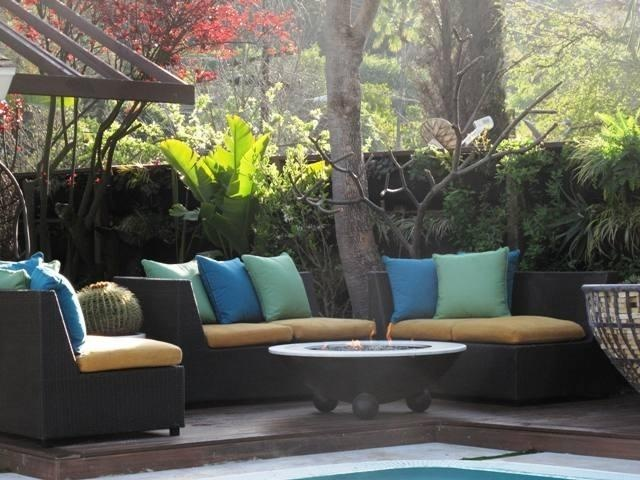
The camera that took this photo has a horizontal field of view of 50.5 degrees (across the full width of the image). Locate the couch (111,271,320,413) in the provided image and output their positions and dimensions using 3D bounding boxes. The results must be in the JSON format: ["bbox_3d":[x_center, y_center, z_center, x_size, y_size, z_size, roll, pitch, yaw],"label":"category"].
[{"bbox_3d":[-0.827,0.854,5.213,1.535,1.163,0.821,6,-12,-42],"label":"couch"}]
